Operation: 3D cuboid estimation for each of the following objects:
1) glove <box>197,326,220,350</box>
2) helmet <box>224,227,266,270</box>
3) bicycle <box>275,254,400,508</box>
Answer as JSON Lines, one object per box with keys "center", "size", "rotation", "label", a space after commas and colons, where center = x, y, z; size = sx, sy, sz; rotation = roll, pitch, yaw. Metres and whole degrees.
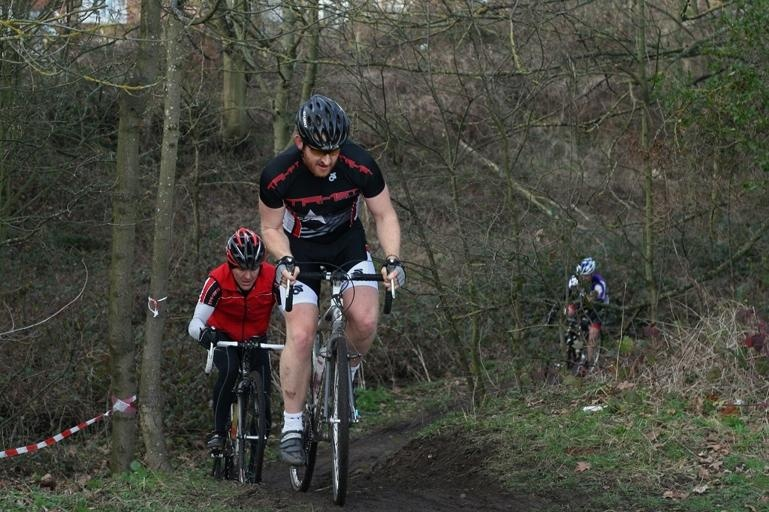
{"center": [-2.605, 1.235, 14.178], "size": [0.277, 0.325, 0.313], "rotation": [-1, -4, -12], "label": "glove"}
{"center": [-2.106, -0.150, 14.298], "size": [0.407, 0.395, 0.665], "rotation": [-1, 25, -18], "label": "helmet"}
{"center": [-0.726, 1.790, 12.963], "size": [0.758, 3.234, 1.291], "rotation": [1, -4, -31], "label": "bicycle"}
